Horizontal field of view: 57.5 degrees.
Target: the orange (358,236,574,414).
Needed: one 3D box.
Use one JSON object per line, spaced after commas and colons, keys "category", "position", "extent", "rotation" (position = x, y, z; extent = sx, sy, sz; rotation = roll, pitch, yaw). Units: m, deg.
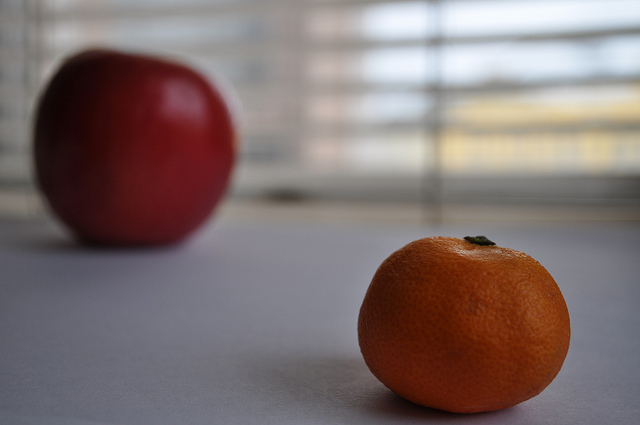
{"category": "orange", "position": [0.199, 0.123, 0.829], "extent": [0.256, 0.195, 0.256], "rotation": [-1, 4, 23]}
